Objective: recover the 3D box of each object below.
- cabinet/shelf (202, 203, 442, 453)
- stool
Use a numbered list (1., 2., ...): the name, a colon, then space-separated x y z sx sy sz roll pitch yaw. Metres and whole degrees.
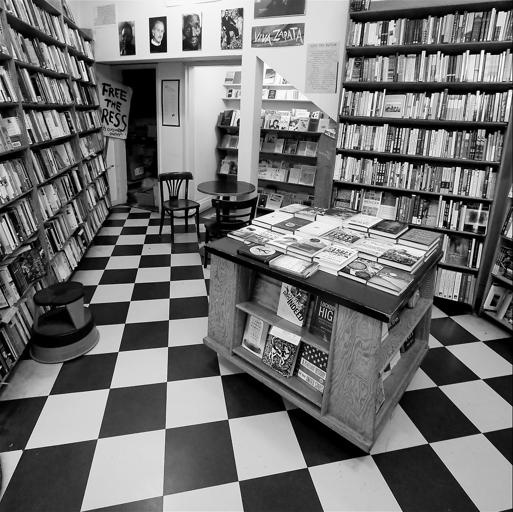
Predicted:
1. cabinet/shelf: 0.397 0.300 2.524 1.275 0.799 1.033 20 28 36
2. stool: -1.337 0.456 2.784 0.431 0.509 0.489 -2 19 -11
